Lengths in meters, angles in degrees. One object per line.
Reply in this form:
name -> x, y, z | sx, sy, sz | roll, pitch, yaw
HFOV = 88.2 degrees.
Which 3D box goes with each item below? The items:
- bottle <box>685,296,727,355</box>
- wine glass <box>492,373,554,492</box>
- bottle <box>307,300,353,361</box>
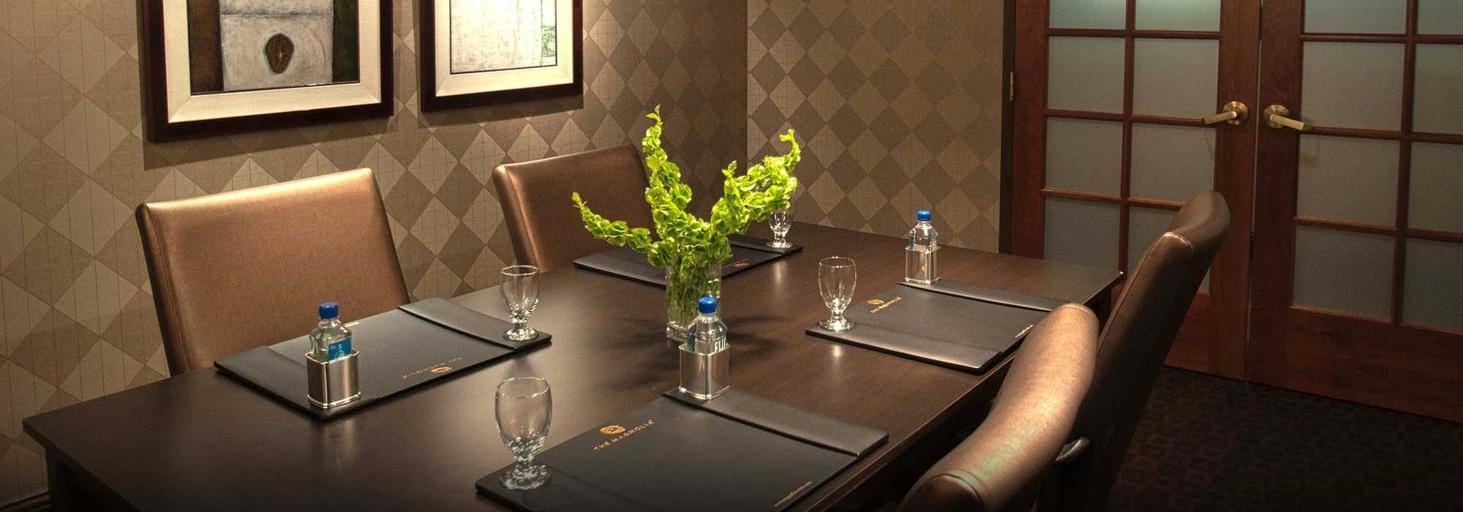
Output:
bottle -> -0.141, 0.386, 4.221 | 0.233, 0.325, 0.092 | 3, 16, 0
wine glass -> -1.096, 0.930, 3.979 | 0.261, 0.568, 0.245 | -1, 16, -15
bottle -> -2.240, 0.419, 4.200 | 0.211, 0.319, 0.174 | 16, 20, 39
